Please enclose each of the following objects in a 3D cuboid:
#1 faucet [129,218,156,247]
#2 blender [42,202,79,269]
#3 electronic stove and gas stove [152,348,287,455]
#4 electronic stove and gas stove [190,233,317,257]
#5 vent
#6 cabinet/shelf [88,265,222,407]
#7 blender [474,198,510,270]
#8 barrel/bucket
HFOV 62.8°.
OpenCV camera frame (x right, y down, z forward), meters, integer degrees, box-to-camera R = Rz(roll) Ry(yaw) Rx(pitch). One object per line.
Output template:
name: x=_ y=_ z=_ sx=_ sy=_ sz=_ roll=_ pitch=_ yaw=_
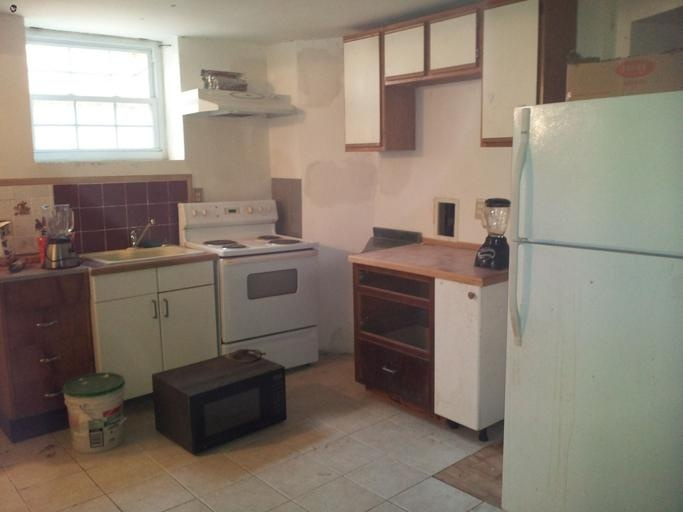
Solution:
faucet: x=-1.555 y=-0.187 z=4.354 sx=0.167 sy=0.199 sz=0.210 roll=-3 pitch=13 yaw=-2
blender: x=-1.902 y=-0.146 z=3.749 sx=0.220 sy=0.389 sz=0.417 roll=-9 pitch=14 yaw=-25
electronic stove and gas stove: x=-0.830 y=0.850 z=3.534 sx=0.732 sy=0.447 sz=0.513 roll=-10 pitch=12 yaw=-43
electronic stove and gas stove: x=-0.712 y=-0.094 z=4.431 sx=0.858 sy=0.105 sz=0.581 roll=-11 pitch=15 yaw=-31
vent: x=-0.797 y=-1.270 z=4.338 sx=0.885 sy=0.340 sz=0.466 roll=-6 pitch=13 yaw=-16
cabinet/shelf: x=-1.288 y=0.530 z=3.741 sx=0.868 sy=0.888 sz=0.421 roll=-7 pitch=8 yaw=-43
blender: x=0.956 y=-0.155 z=3.475 sx=0.214 sy=0.417 sz=0.221 roll=-12 pitch=20 yaw=-30
barrel/bucket: x=-1.432 y=0.919 z=3.509 sx=0.395 sy=0.413 sz=0.406 roll=1 pitch=12 yaw=0
